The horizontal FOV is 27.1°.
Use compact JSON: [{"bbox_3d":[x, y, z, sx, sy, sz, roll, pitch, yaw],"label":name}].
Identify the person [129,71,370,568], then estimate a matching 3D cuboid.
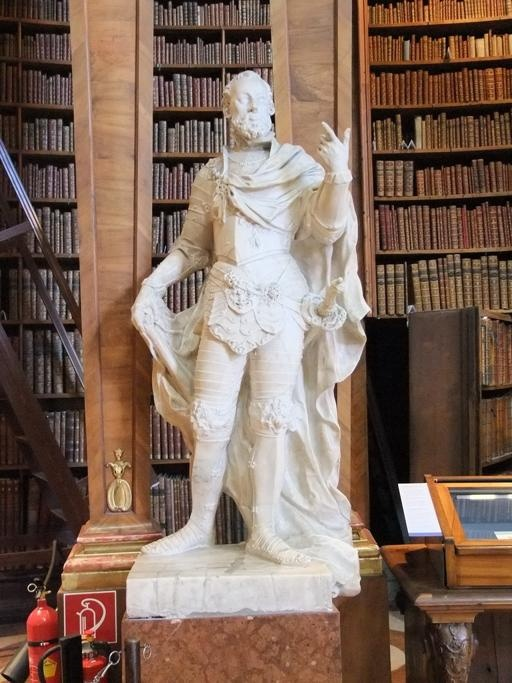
[{"bbox_3d":[-0.019,-0.014,3.488,0.769,1.366,0.579,0,13,5],"label":"person"}]
